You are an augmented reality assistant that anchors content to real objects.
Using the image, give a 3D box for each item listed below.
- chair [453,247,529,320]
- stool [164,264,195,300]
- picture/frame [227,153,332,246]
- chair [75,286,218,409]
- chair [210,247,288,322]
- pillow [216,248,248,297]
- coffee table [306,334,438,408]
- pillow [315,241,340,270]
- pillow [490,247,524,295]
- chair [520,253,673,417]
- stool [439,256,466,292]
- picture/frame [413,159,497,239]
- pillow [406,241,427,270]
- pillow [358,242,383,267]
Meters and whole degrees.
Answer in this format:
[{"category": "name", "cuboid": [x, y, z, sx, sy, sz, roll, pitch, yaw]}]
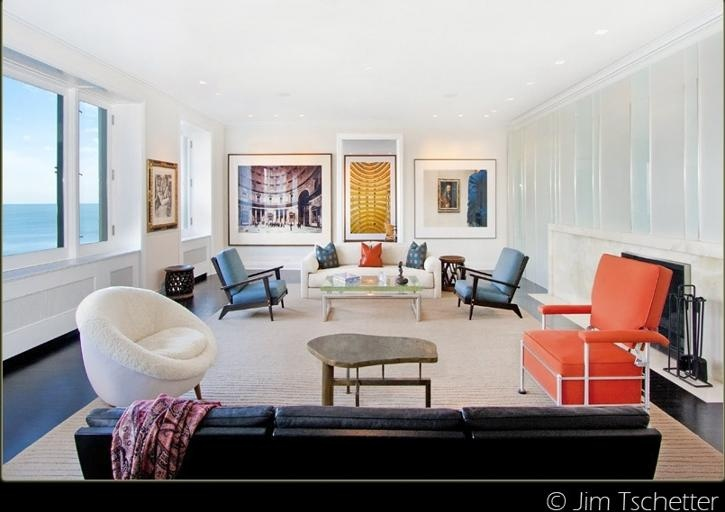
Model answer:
[{"category": "chair", "cuboid": [1.777, 0.366, 6.646, 0.961, 0.842, 0.857, -2, 8, 9]}, {"category": "stool", "cuboid": [-2.850, 0.396, 7.409, 0.483, 0.466, 0.489, 0, 2, -5]}, {"category": "picture/frame", "cuboid": [-1.727, -1.293, 10.238, 1.949, 1.633, 0.037, 1, 8, 1]}, {"category": "chair", "cuboid": [-1.848, 0.817, 4.109, 1.080, 0.951, 1.154, 4, 6, 3]}, {"category": "chair", "cuboid": [-1.523, 0.354, 6.663, 0.927, 0.804, 0.804, 2, 8, 3]}, {"category": "pillow", "cuboid": [-1.874, 0.252, 6.800, 0.199, 0.586, 0.624, -16, 13, 6]}, {"category": "coffee table", "cuboid": [0.073, 0.902, 3.858, 0.849, 0.475, 0.633, 0, 9, 0]}, {"category": "pillow", "cuboid": [-0.577, 0.008, 7.955, 0.400, 0.444, 0.177, -7, -8, -23]}, {"category": "pillow", "cuboid": [2.115, 0.238, 6.918, 0.215, 0.607, 0.637, 16, 10, -9]}, {"category": "chair", "cuboid": [2.064, 0.709, 4.340, 0.937, 1.279, 1.333, -2, 3, 7]}, {"category": "stool", "cuboid": [1.541, 0.293, 8.308, 0.564, 0.656, 0.586, 1, 5, 6]}, {"category": "picture/frame", "cuboid": [1.942, -1.287, 10.243, 1.672, 1.518, 0.063, 0, 1, -2]}, {"category": "pillow", "cuboid": [0.888, 0.013, 7.887, 0.211, 0.401, 0.341, 39, -16, -36]}, {"category": "pillow", "cuboid": [0.139, -0.008, 7.942, 0.365, 0.373, 0.148, 1, -17, 0]}]
